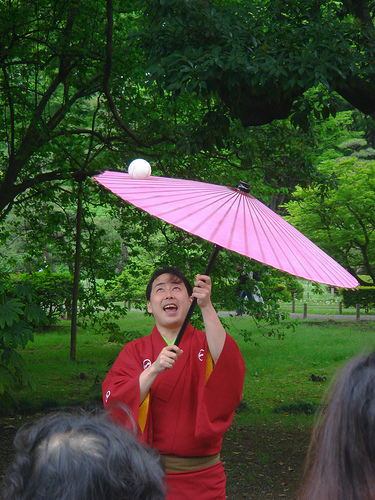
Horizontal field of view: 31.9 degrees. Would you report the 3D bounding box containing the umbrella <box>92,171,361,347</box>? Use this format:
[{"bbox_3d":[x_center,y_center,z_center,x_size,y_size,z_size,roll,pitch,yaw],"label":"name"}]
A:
[{"bbox_3d":[0.235,-0.119,3.166,1.172,0.651,0.966,22,7,-1],"label":"umbrella"}]
